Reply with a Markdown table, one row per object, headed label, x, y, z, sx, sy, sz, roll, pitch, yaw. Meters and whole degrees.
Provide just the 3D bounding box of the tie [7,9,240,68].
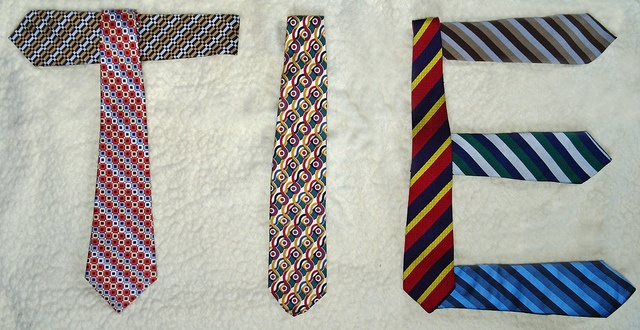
| label | x | y | z | sx | sy | sz | roll | pitch | yaw |
| --- | --- | --- | --- | --- | --- | --- | --- | --- | --- |
| tie | -0.823 | -0.516 | 2.742 | 1.113 | 0.024 | 0.253 | 3 | 98 | 24 |
